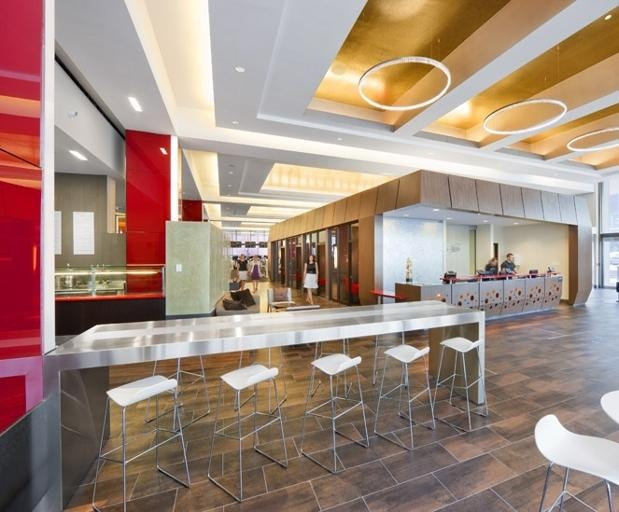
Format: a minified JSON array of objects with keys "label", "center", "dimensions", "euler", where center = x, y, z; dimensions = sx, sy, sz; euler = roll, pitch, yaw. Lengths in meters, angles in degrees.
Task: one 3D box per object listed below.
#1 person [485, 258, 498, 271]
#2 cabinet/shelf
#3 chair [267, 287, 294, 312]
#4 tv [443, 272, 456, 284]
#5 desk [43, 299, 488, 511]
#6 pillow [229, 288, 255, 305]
[{"label":"person","center":[4.425,0.200,10.359],"dimensions":[0.241,0.391,0.745],"euler":[5,12,25]},{"label":"cabinet/shelf","center":[-3.283,0.386,7.079],"dimensions":[1.661,0.554,0.563],"euler":[-1,1,-20]},{"label":"chair","center":[-0.721,0.954,9.813],"dimensions":[0.554,0.731,0.610],"euler":[1,-4,-14]},{"label":"tv","center":[2.885,0.413,8.803],"dimensions":[0.196,0.260,0.264],"euler":[10,21,9]},{"label":"desk","center":[-0.460,1.486,5.018],"dimensions":[4.461,1.514,0.864],"euler":[-4,12,-19]},{"label":"pillow","center":[-1.245,0.772,8.335],"dimensions":[0.329,0.351,0.135],"euler":[9,-40,-35]}]
